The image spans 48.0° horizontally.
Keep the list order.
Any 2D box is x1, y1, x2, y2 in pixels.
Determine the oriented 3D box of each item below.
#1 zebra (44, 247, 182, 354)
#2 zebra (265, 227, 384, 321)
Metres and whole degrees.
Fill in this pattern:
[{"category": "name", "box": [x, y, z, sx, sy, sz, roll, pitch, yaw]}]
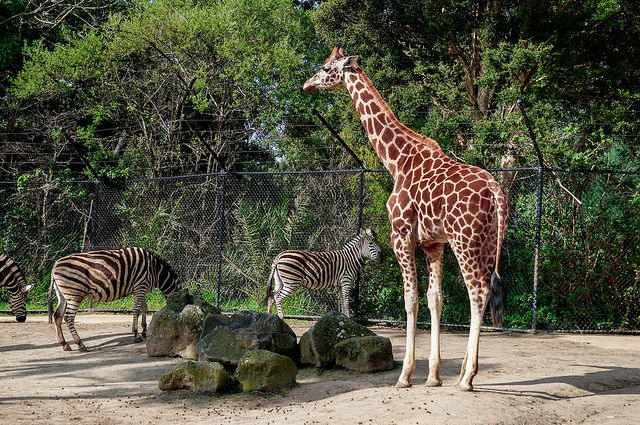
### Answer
[{"category": "zebra", "box": [-4.745, 1.941, 16.436, 2.686, 2.265, 3.723, 2, -3, -19]}, {"category": "zebra", "box": [0.155, 1.531, 17.050, 2.774, 2.150, 0.916, -1, -6, -13]}]
